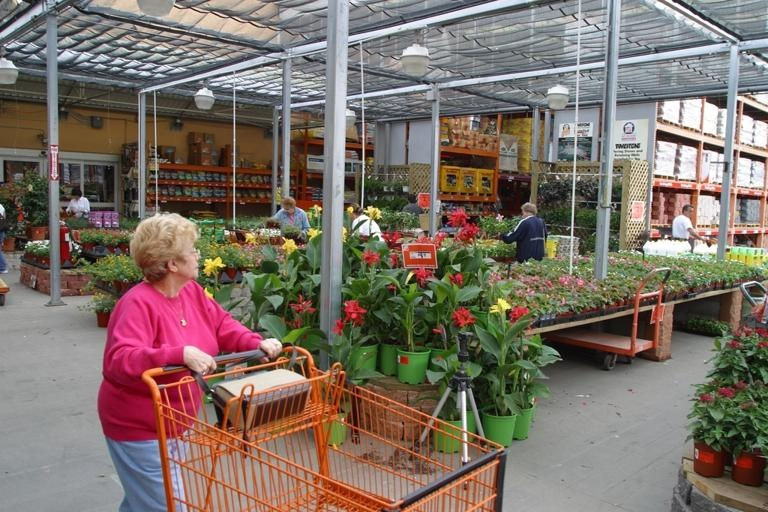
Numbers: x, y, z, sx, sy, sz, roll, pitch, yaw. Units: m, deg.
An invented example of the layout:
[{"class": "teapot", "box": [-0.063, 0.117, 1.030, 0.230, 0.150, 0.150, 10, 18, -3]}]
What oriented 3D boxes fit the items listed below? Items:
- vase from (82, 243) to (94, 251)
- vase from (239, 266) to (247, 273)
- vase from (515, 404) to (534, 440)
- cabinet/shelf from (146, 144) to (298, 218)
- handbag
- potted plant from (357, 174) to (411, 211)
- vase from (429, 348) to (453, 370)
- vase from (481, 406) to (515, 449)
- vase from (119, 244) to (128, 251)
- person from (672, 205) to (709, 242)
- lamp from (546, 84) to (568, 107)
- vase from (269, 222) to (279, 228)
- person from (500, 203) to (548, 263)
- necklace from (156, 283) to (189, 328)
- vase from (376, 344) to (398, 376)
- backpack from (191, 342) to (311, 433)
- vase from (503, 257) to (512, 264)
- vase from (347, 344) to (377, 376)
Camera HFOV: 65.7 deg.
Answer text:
[{"class": "vase", "box": [-5.509, -0.172, 11.057, 0.156, 0.088, 0.148, 0, -6, -8]}, {"class": "vase", "box": [-2.289, 0.227, 9.656, 0.106, 0.070, 0.101, 1, 3, -22]}, {"class": "vase", "box": [1.268, 1.539, 5.474, 0.122, 0.338, 0.204, 6, 8, 41]}, {"class": "cabinet/shelf", "box": [-4.556, -1.724, 16.832, 3.915, 1.821, 0.618, -3, 33, -24]}, {"class": "handbag", "box": [-0.784, 0.737, 3.487, 0.468, 0.222, 0.559, -8, 0, -34]}, {"class": "potted plant", "box": [0.131, -1.722, 16.932, 1.396, 1.294, 0.529, 4, -9, 19]}, {"class": "vase", "box": [0.493, 0.921, 5.304, 0.188, 0.126, 0.180, 1, -2, -3]}, {"class": "vase", "box": [1.027, 1.548, 5.398, 0.321, 0.252, 0.328, 29, -32, -31]}, {"class": "vase", "box": [-4.955, -0.152, 11.355, 0.149, 0.146, 0.136, 1, 0, -5]}, {"class": "person", "box": [6.548, -0.702, 12.787, 0.402, 1.148, 0.727, -9, 15, -24]}, {"class": "lamp", "box": [2.964, -2.707, 10.244, 0.437, 0.382, 0.416, 0, -4, 0]}, {"class": "vase", "box": [-2.023, -0.554, 10.926, 0.125, 0.059, 0.158, 2, -2, 9]}, {"class": "person", "box": [2.266, -0.237, 9.711, 0.641, 1.345, 0.635, 23, 41, 39]}, {"class": "necklace", "box": [-1.279, 0.316, 3.649, 0.171, 0.244, 0.254, -4, 10, -3]}, {"class": "vase", "box": [0.034, 0.969, 5.543, 0.261, 0.213, 0.268, 1, -2, 1]}, {"class": "backpack", "box": [-0.750, 0.802, 3.640, 0.677, 0.374, 0.636, 15, 23, 42]}, {"class": "vase", "box": [2.105, 0.081, 10.229, 0.101, 0.065, 0.096, 1, -4, -10]}, {"class": "vase", "box": [-0.194, 0.938, 5.415, 0.243, 0.172, 0.237, 0, -1, 0]}]
